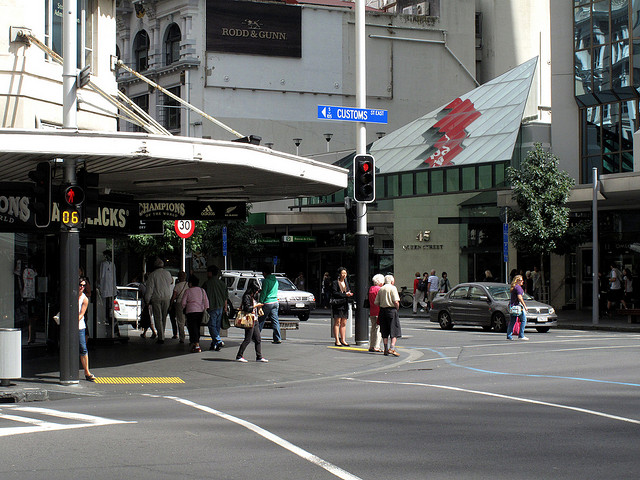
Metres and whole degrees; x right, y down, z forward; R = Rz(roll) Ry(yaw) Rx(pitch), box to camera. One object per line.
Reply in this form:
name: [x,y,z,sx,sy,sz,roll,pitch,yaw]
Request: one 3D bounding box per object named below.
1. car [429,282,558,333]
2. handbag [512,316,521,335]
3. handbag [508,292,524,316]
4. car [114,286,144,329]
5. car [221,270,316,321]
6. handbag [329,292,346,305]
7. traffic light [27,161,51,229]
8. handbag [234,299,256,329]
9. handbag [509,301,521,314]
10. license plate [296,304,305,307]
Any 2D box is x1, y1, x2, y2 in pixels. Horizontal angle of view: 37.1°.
car: [5.450,2.295,31.584,1.631,1.333,3.892,3,-7,-38]
handbag: [5.644,2.501,27.832,0.198,0.555,0.527,6,2,5]
handbag: [5.609,2.028,27.763,0.350,0.500,0.268,0,-24,-3]
car: [-6.881,2.439,34.331,1.181,1.149,2.147,0,4,-12]
car: [-2.266,2.264,39.384,1.927,1.802,3.539,4,-7,-43]
handbag: [0.476,1.609,26.530,0.376,0.413,0.180,0,-12,-6]
traffic light: [-5.527,-0.918,18.893,0.404,1.332,0.425,-1,-5,-16]
handbag: [-1.789,1.821,22.509,0.446,0.580,0.461,-2,-5,-3]
handbag: [5.592,2.000,27.749,0.261,0.257,0.274,2,-12,-4]
license plate: [-0.841,2.659,38.384,0.377,0.107,0.086,2,-7,-43]
